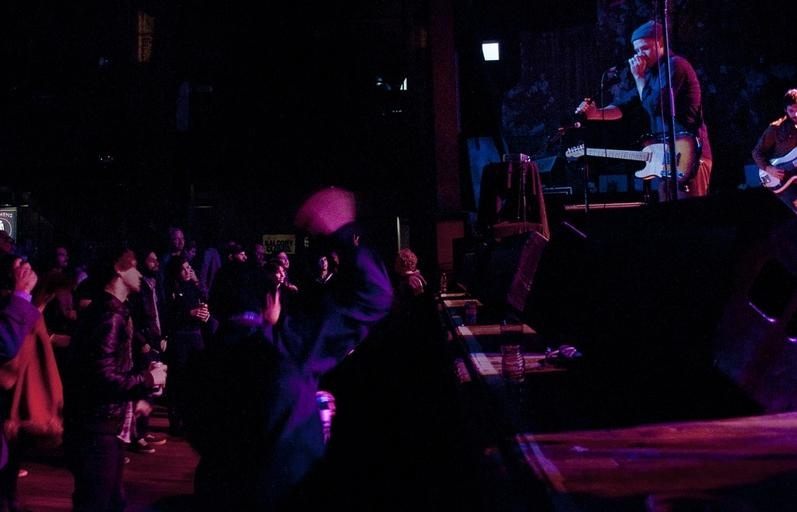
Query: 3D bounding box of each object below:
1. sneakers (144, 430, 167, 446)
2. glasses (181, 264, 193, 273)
[{"bbox_3d":[-3.012,2.248,8.746,0.272,0.099,0.151,2,2,4],"label":"sneakers"},{"bbox_3d":[-2.691,0.154,8.973,0.078,0.102,0.100,2,6,8],"label":"glasses"}]
